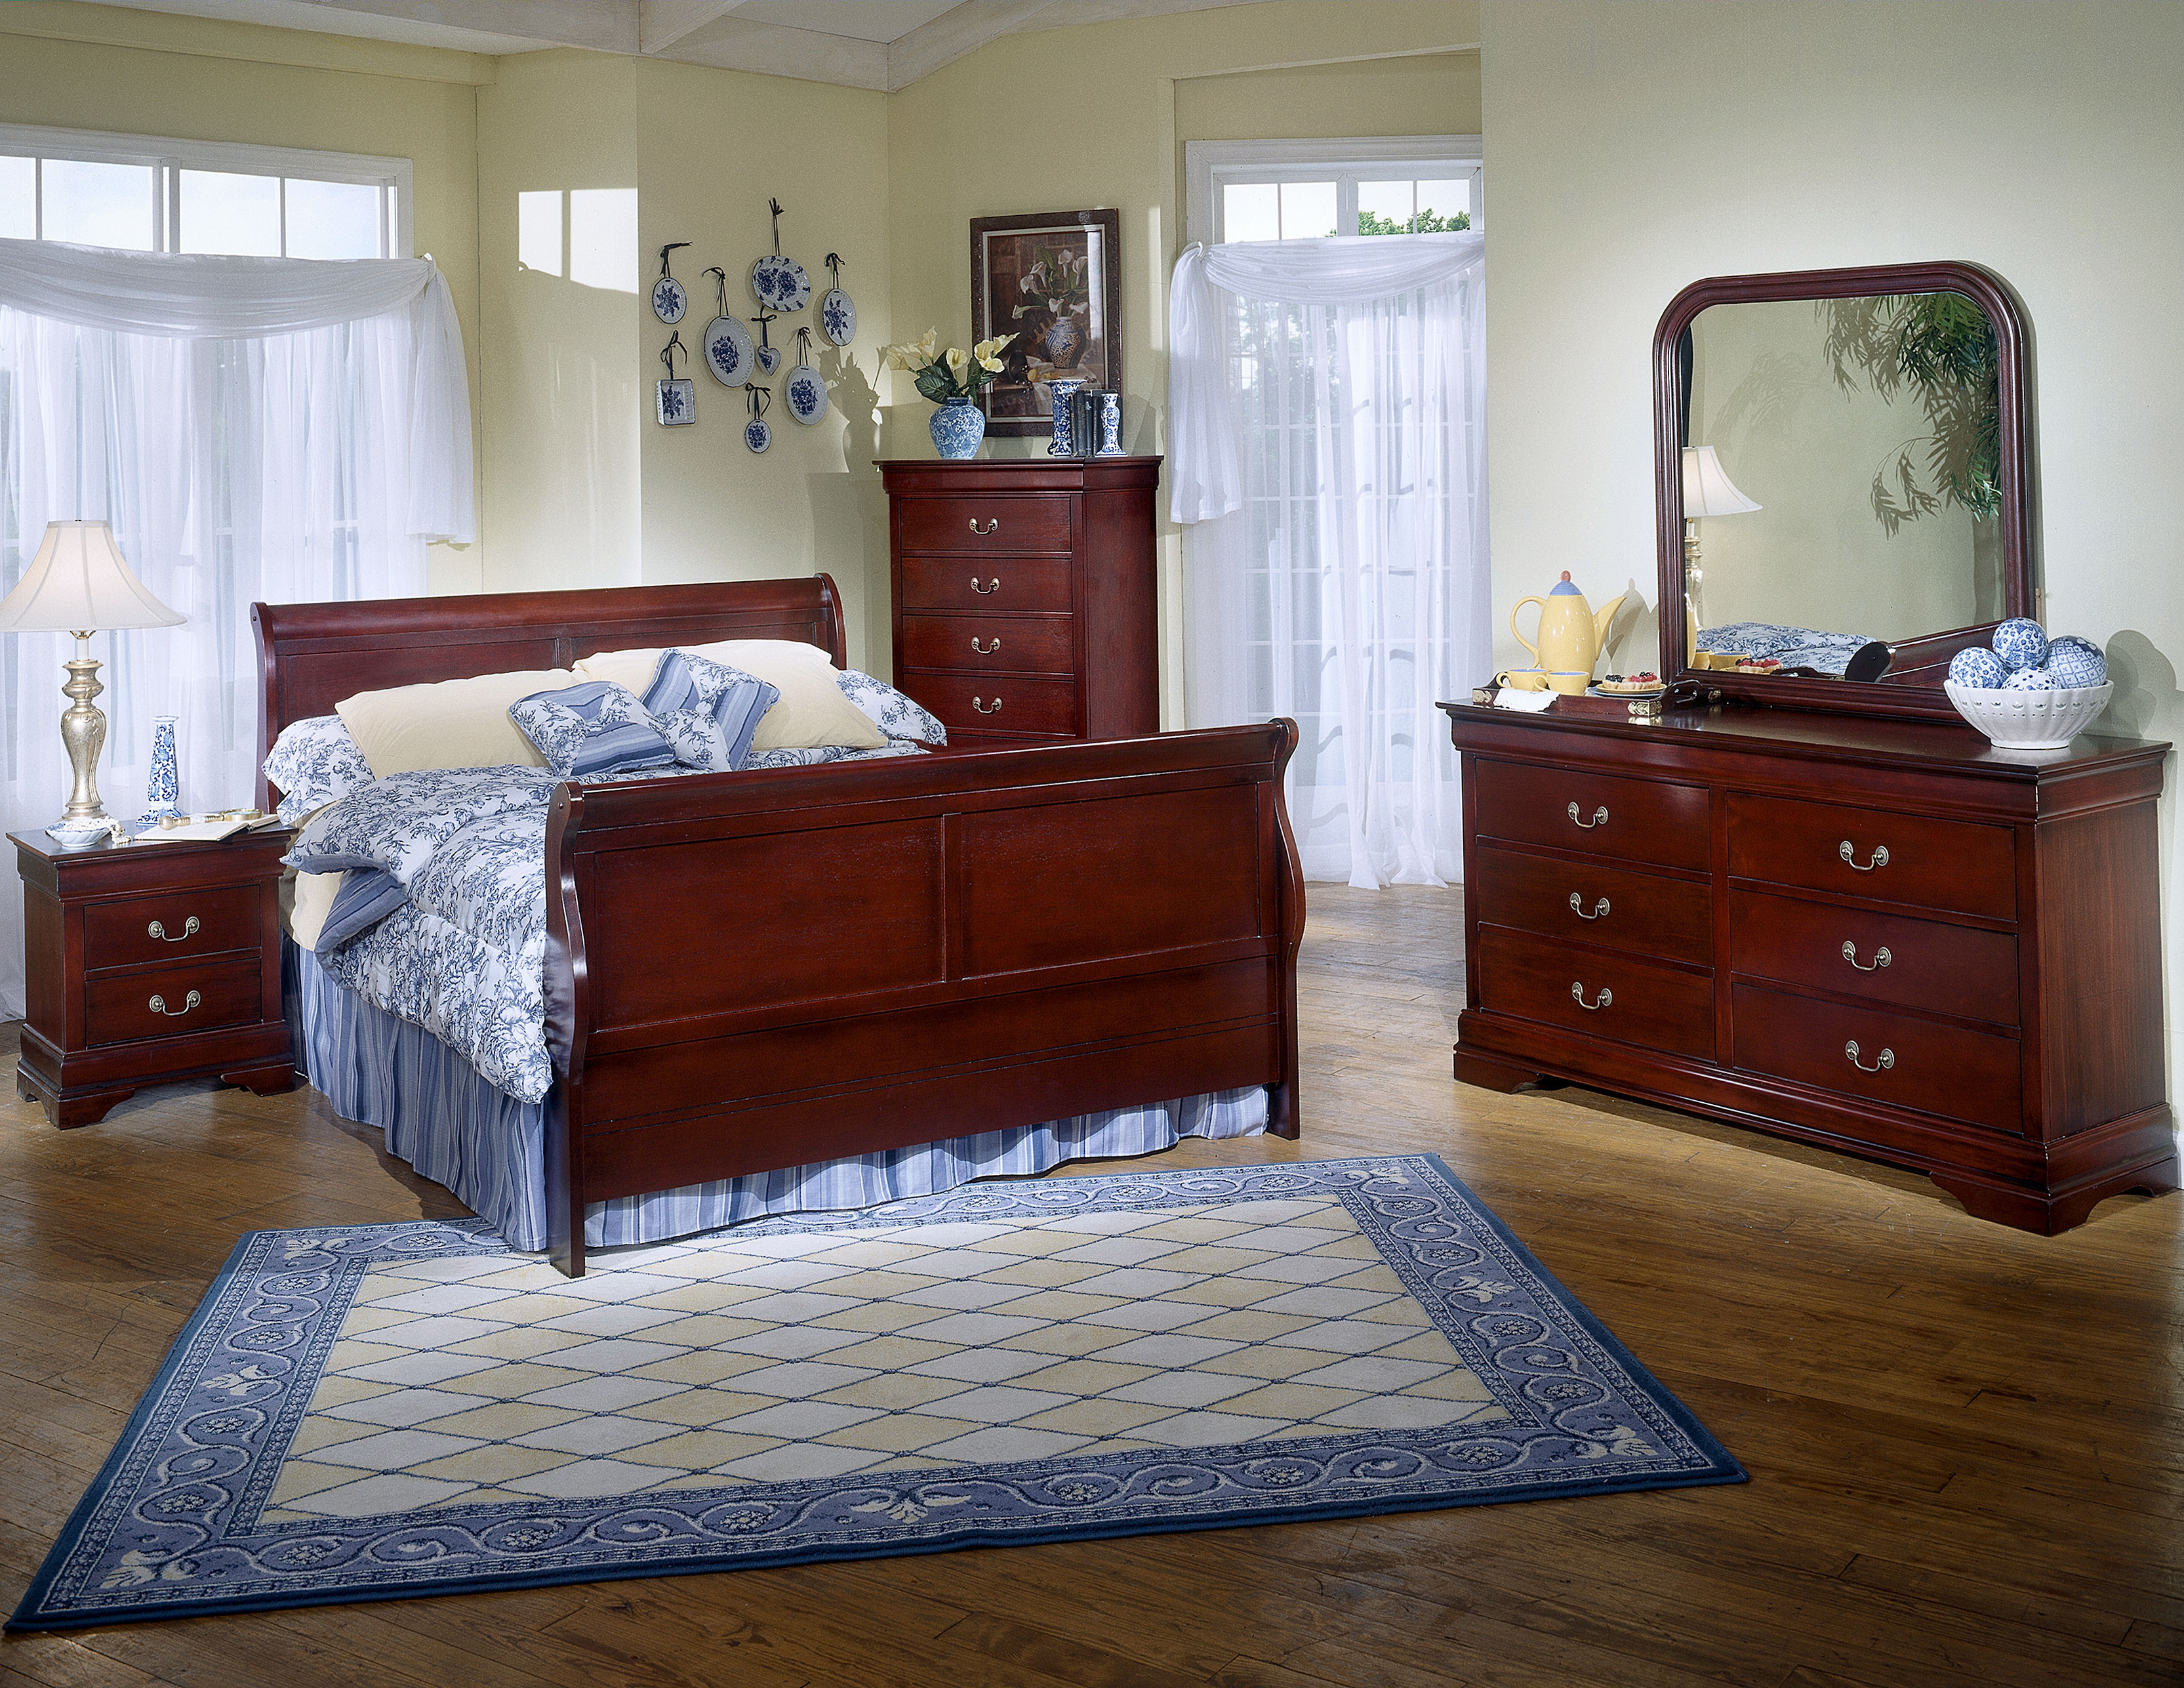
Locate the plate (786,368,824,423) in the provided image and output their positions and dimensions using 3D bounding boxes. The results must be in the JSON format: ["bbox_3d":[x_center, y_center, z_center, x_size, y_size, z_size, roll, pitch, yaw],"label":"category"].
[{"bbox_3d":[-1.245,-1.918,7.013,0.050,0.196,0.205,6,-24,37],"label":"plate"}]

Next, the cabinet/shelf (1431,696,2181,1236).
[{"bbox_3d":[1.831,0.319,4.106,0.444,0.765,1.324,-5,8,-34],"label":"cabinet/shelf"}]

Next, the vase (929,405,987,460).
[{"bbox_3d":[-0.603,-1.702,6.841,0.256,0.278,0.253,6,12,26],"label":"vase"}]

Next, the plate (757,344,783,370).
[{"bbox_3d":[-1.376,-2.039,6.895,0.042,0.111,0.168,2,8,25],"label":"plate"}]

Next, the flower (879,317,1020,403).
[{"bbox_3d":[-0.621,-2.009,6.948,0.456,0.239,0.469,-13,11,-32],"label":"flower"}]

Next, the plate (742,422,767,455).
[{"bbox_3d":[-1.426,-1.710,6.881,0.115,0.105,0.026,-2,3,-42],"label":"plate"}]

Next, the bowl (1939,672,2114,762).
[{"bbox_3d":[2.173,-0.297,3.892,0.386,0.168,0.313,-7,10,-39],"label":"bowl"}]

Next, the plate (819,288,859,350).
[{"bbox_3d":[-1.127,-2.292,7.155,0.045,0.242,0.204,3,9,30],"label":"plate"}]

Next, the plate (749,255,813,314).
[{"bbox_3d":[-1.330,-2.363,6.927,0.039,0.229,0.296,4,9,35],"label":"plate"}]

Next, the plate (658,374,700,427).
[{"bbox_3d":[-1.680,-1.787,6.600,0.045,0.170,0.194,0,2,44],"label":"plate"}]

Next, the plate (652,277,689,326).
[{"bbox_3d":[-1.705,-2.182,6.575,0.033,0.186,0.163,5,10,38],"label":"plate"}]

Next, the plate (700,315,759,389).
[{"bbox_3d":[-1.508,-2.025,6.737,0.032,0.262,0.184,2,6,42],"label":"plate"}]
